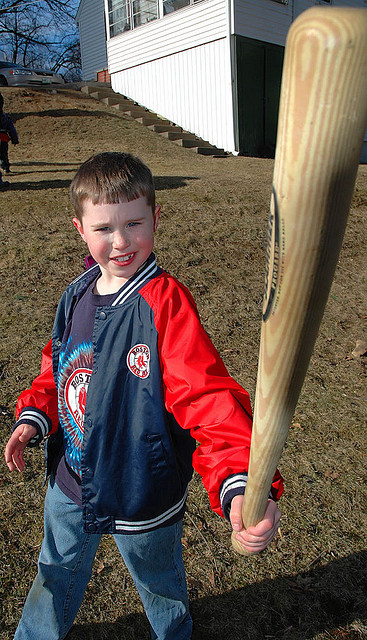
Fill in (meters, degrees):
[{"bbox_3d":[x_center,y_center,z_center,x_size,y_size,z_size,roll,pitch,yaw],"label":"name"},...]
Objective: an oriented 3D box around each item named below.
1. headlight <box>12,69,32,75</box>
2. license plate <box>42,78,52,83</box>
[{"bbox_3d":[-4.894,-7.482,13.856,0.603,0.185,0.132,-1,-13,-6],"label":"headlight"},{"bbox_3d":[-4.217,-7.370,14.117,0.181,0.154,0.027,2,6,-7],"label":"license plate"}]
